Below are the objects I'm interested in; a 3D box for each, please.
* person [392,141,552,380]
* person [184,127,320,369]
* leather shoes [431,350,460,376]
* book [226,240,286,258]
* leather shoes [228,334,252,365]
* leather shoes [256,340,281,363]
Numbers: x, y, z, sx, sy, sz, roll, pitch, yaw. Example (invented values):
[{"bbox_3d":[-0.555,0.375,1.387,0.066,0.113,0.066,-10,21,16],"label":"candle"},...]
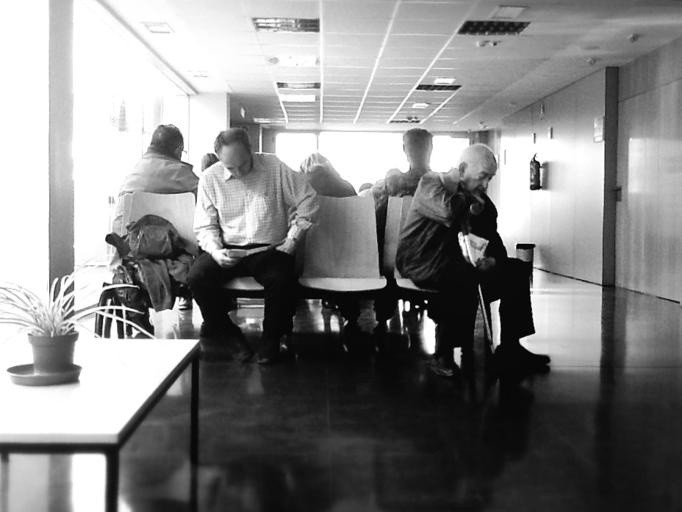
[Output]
[{"bbox_3d":[0.824,0.002,3.847,0.835,1.389,0.450,-3,7,-19],"label":"person"},{"bbox_3d":[-0.577,-0.089,4.079,0.852,1.522,0.564,0,7,-3],"label":"person"},{"bbox_3d":[0.634,0.649,3.702,0.121,0.063,0.164,2,4,6],"label":"leather shoes"},{"bbox_3d":[-0.552,-0.041,3.978,0.368,0.111,0.289,-1,8,-5],"label":"book"},{"bbox_3d":[-0.642,0.603,3.995,0.133,0.149,0.192,-1,8,-10],"label":"leather shoes"},{"bbox_3d":[-0.460,0.614,3.921,0.138,0.154,0.133,1,-10,1],"label":"leather shoes"}]
